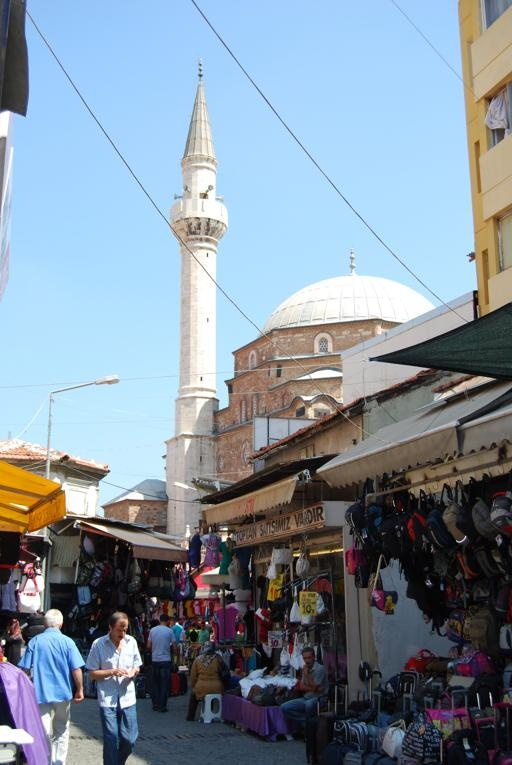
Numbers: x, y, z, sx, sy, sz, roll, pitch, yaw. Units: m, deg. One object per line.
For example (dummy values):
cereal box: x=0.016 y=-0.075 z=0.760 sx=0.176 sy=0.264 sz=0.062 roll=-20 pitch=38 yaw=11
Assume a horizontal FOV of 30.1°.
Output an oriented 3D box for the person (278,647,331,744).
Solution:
person: x=0.517 y=3.088 z=9.481 sx=0.427 sy=0.811 sz=0.375 roll=9 pitch=-15 yaw=-42

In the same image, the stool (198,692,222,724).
stool: x=-0.519 y=3.736 z=10.947 sx=0.224 sy=0.308 sz=0.359 roll=2 pitch=-14 yaw=-11

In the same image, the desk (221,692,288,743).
desk: x=-0.013 y=3.510 z=10.021 sx=0.303 sy=0.346 sz=1.366 roll=4 pitch=-14 yaw=-17
